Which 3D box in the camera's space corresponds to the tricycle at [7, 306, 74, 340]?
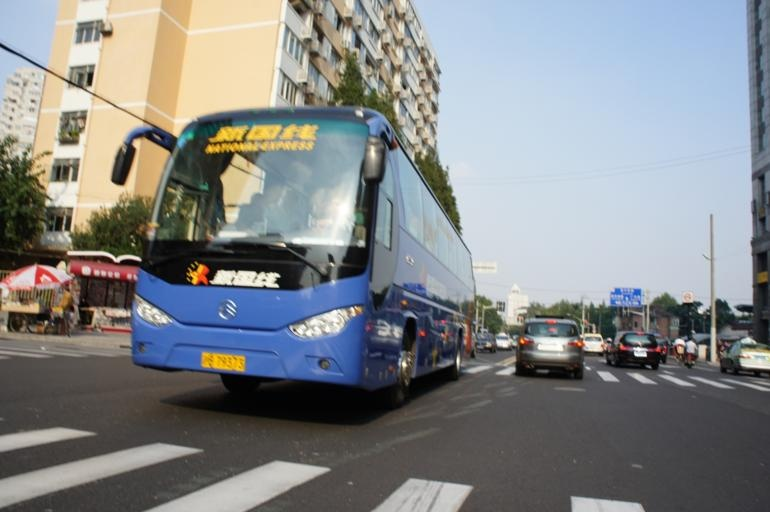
[{"bbox_3d":[-14.106,2.656,22.196,2.500,1.360,0.757,7,-3,-5],"label":"tricycle"}]
